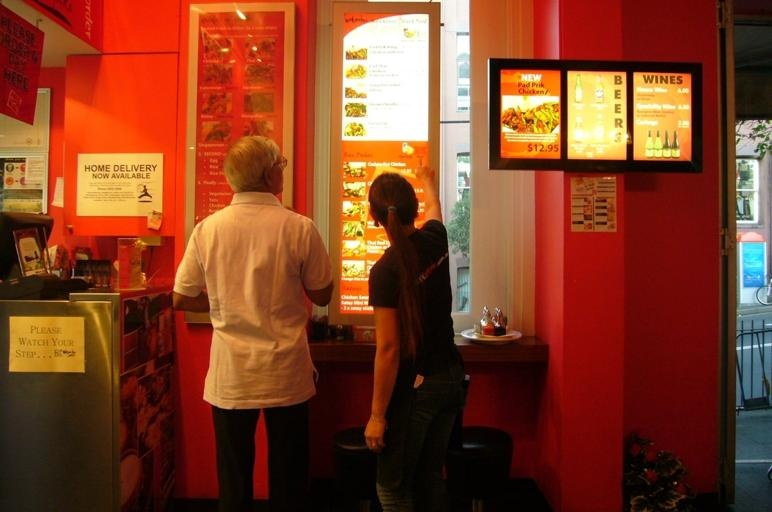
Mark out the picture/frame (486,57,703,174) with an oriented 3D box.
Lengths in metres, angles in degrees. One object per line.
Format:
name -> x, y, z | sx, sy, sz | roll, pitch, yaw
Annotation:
picture/frame -> 1.532, -1.017, 5.169 | 1.509, 0.846, 0.151 | 2, -10, 5

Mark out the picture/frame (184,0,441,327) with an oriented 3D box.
picture/frame -> -0.557, -0.718, 5.133 | 2.448, 3.391, 0.140 | 0, -1, 3

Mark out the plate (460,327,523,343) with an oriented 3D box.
plate -> 0.846, 0.625, 5.501 | 0.483, 0.093, 0.245 | 0, 3, -6
